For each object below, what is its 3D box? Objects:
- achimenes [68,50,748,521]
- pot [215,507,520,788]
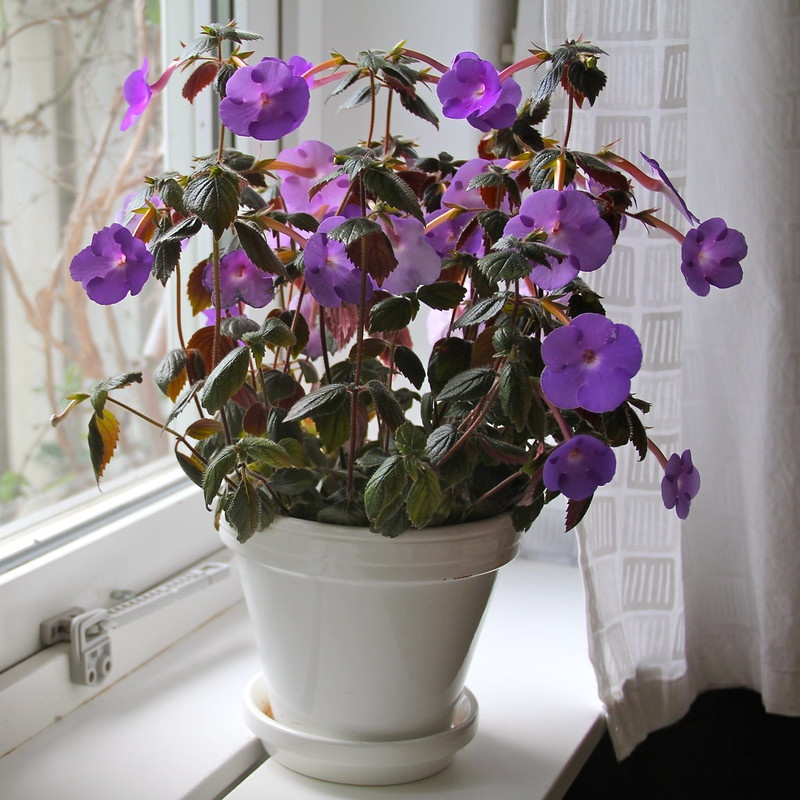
[{"bbox_3d":[0.012,-0.069,0.785,0.456,0.383,0.376,3,17,11],"label":"achimenes"},{"bbox_3d":[-0.030,0.194,0.843,0.245,0.260,0.279,4,13,-3],"label":"pot"}]
